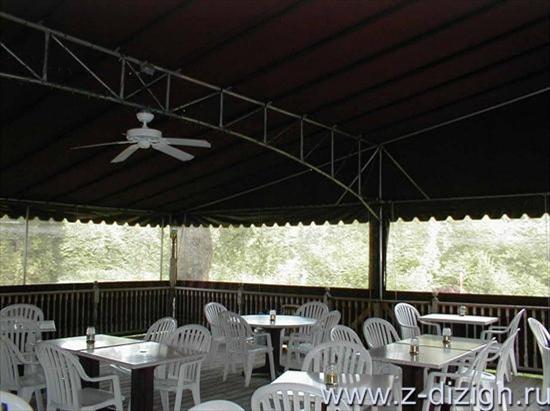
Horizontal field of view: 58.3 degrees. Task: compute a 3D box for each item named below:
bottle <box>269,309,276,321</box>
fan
[{"bbox_3d":[-0.028,1.699,7.556,0.139,0.189,0.134,0,-8,0],"label":"bottle"},{"bbox_3d":[-1.576,-0.878,6.368,1.061,0.630,1.655,-2,8,-18],"label":"fan"}]
